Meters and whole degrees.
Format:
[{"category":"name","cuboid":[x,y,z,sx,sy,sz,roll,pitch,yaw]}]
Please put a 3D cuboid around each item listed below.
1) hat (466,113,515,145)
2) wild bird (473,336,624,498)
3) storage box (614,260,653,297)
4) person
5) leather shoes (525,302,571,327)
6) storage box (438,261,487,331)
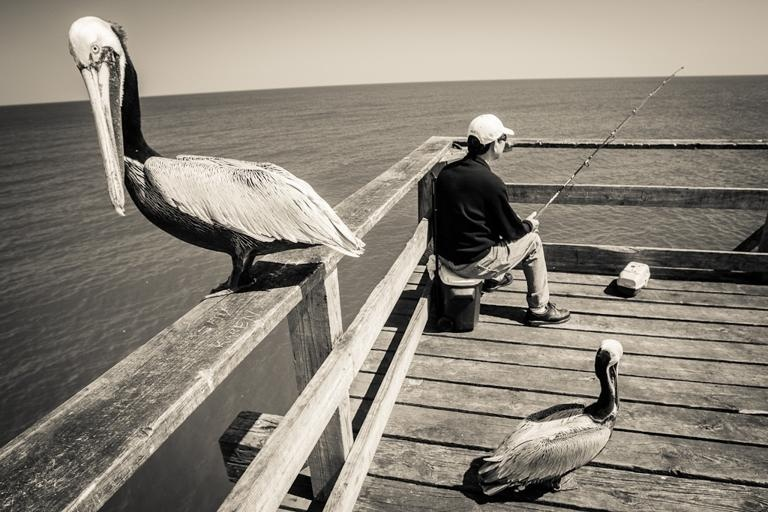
[{"category":"hat","cuboid":[1.127,-1.372,6.778,0.475,0.222,0.321,-15,33,-21]},{"category":"wild bird","cuboid":[1.386,1.409,5.425,1.496,1.108,0.518,-10,18,-16]},{"category":"storage box","cuboid":[2.942,0.245,7.516,0.319,0.219,0.531,16,36,27]},{"category":"person","cuboid":[1.162,-0.330,6.864,1.267,2.170,0.734,-3,26,3]},{"category":"leather shoes","cuboid":[1.787,0.647,7.012,0.496,0.206,0.220,-4,15,-3]},{"category":"storage box","cuboid":[0.779,0.489,7.088,0.668,0.647,0.832,-2,19,3]}]
